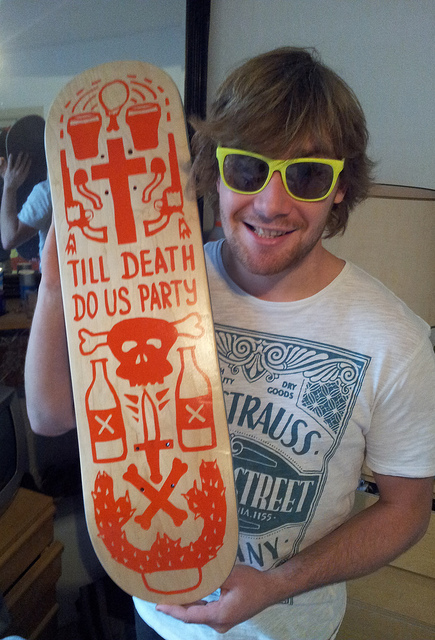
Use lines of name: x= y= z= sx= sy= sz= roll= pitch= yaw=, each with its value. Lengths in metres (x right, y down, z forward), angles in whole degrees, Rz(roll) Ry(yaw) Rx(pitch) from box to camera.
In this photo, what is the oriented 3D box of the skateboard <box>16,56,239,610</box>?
skateboard: x=-0.176 y=0.041 z=1.324 sx=0.372 sy=1.486 sz=0.210 roll=-8 pitch=-2 yaw=7
